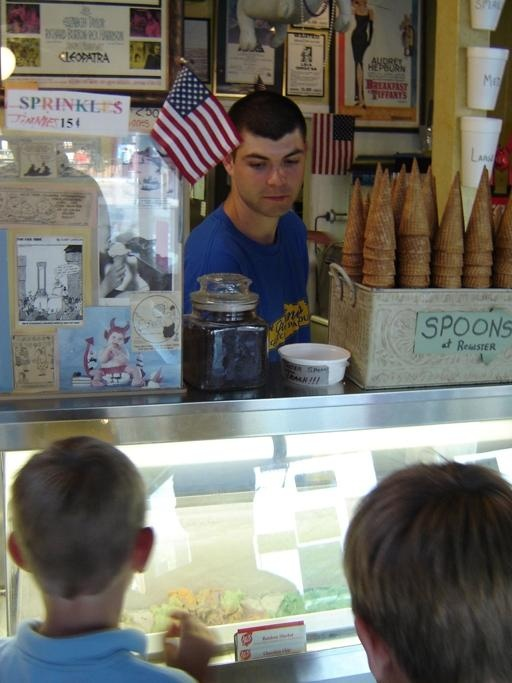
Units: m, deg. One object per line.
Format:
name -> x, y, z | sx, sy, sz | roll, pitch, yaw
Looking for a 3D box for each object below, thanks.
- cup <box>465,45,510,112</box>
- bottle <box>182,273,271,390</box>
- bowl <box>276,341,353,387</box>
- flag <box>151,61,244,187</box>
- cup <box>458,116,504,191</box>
cup -> 0.688, -0.774, 1.704 | 0.167, 0.170, 0.092 | -7, 14, -37
bottle -> -0.057, -0.016, 1.054 | 0.151, 0.197, 0.127 | 0, 11, -7
bowl -> 0.112, 0.046, 1.138 | 0.132, 0.064, 0.143 | 1, 11, 0
flag -> -0.103, -0.361, 0.959 | 0.066, 0.193, 0.159 | 12, 15, 44
cup -> 0.696, -0.577, 1.769 | 0.093, 0.216, 0.201 | 12, 15, 43
